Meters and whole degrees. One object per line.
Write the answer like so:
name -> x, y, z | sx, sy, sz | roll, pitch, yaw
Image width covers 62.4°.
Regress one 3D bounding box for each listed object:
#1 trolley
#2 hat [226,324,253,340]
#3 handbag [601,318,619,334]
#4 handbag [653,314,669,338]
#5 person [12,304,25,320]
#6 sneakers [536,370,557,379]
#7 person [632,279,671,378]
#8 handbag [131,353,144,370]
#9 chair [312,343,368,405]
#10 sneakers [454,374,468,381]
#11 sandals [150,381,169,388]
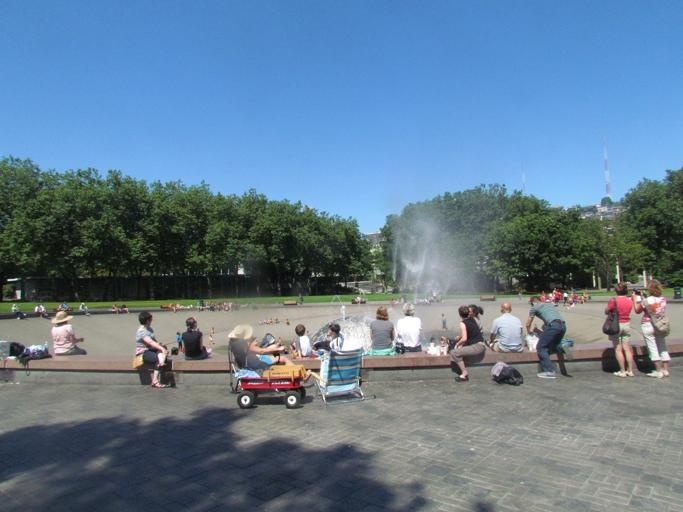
trolley -> -1.390, 2.325, 10.597 | 1.397, 0.909, 0.876 | 0, -7, -1
hat -> -1.916, 1.419, 10.850 | 0.420, 0.239, 0.593 | -3, 8, -12
handbag -> 5.479, 1.436, 11.535 | 0.235, 0.442, 0.330 | -4, 9, -13
handbag -> 6.524, 1.391, 11.396 | 0.496, 0.422, 0.257 | -7, 10, -32
person -> -21.122, 3.601, 37.063 | 0.596, 0.565, 3.158 | -7, 10, -33
sneakers -> 4.192, 2.422, 11.561 | 0.351, 0.151, 0.142 | 1, -6, 18
person -> 6.459, 1.417, 11.730 | 0.728, 2.077, 1.395 | 4, 10, 30
handbag -> -4.288, 2.257, 11.967 | 0.292, 0.342, 0.113 | 12, -6, -30
chair -> -0.008, 2.256, 10.721 | 0.785, 0.980, 1.113 | 2, -14, -12
sneakers -> 2.478, 2.470, 11.537 | 0.268, 0.136, 0.183 | 0, 9, 10
sandals -> -3.766, 2.689, 11.835 | 0.382, 0.159, 0.128 | -1, -7, -2
